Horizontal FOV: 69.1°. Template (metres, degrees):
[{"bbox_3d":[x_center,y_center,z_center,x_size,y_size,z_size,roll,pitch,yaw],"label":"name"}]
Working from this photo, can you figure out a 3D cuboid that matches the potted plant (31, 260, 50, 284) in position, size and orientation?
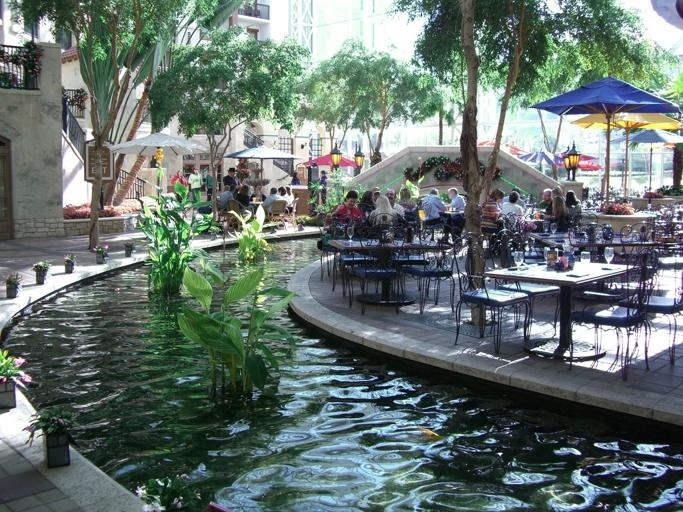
[{"bbox_3d":[-6.182,0.242,10.204,0.500,0.436,0.370,1,-1,-6],"label":"potted plant"}]

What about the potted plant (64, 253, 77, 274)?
[{"bbox_3d":[-6.133,0.111,11.207,0.179,0.292,0.468,-5,11,-20],"label":"potted plant"}]

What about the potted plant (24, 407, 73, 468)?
[{"bbox_3d":[-2.278,1.226,4.007,0.443,0.391,0.417,-2,6,-35],"label":"potted plant"}]

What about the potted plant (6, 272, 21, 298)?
[{"bbox_3d":[-6.002,0.434,9.076,0.251,0.324,0.487,-8,12,-32],"label":"potted plant"}]

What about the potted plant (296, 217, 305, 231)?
[{"bbox_3d":[-1.738,-1.287,20.819,0.462,0.551,0.497,-3,13,-11],"label":"potted plant"}]
